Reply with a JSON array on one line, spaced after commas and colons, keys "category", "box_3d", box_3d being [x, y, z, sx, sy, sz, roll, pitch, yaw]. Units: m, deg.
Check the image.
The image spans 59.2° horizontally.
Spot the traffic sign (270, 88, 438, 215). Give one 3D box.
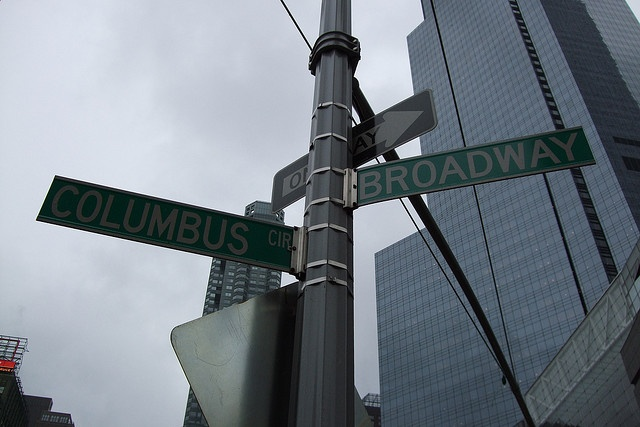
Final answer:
[{"category": "traffic sign", "box_3d": [0.310, -0.763, 7.324, 2.671, 0.723, 0.020, -26, -43, 33]}]
